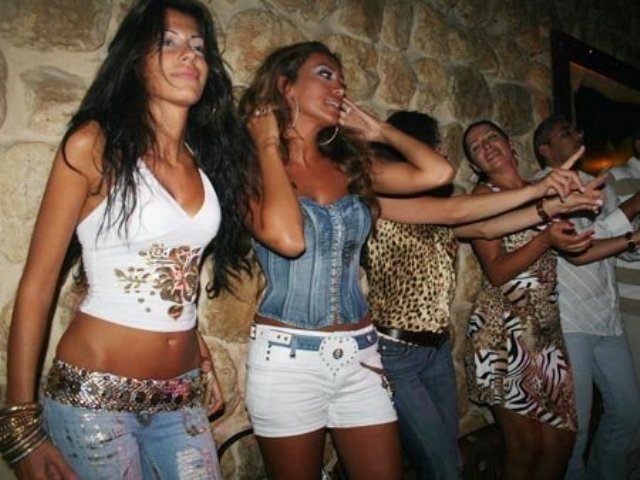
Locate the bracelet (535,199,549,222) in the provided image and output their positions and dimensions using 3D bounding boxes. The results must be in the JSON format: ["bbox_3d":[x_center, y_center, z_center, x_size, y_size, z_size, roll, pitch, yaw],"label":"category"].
[{"bbox_3d":[1.187,-0.159,2.837,0.035,0.095,0.093,-9,17,-22],"label":"bracelet"}]

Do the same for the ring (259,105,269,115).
[{"bbox_3d":[-0.265,-0.630,2.560,0.046,0.022,0.063,-4,32,7],"label":"ring"}]
